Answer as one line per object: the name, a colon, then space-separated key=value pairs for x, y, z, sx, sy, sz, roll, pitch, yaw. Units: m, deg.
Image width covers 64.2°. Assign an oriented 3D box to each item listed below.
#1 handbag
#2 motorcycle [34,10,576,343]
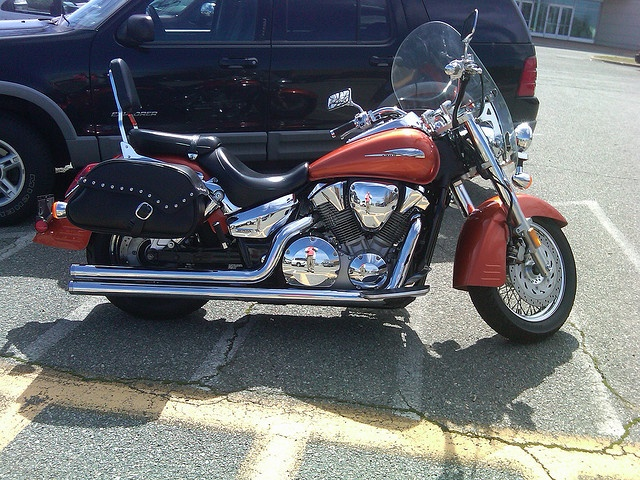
handbag: x=-1.099 y=-0.255 z=3.236 sx=1.133 sy=0.448 sz=0.277 roll=8 pitch=6 yaw=27
motorcycle: x=0.120 y=-0.232 z=3.421 sx=3.707 sy=1.416 sz=1.172 roll=5 pitch=5 yaw=-5
